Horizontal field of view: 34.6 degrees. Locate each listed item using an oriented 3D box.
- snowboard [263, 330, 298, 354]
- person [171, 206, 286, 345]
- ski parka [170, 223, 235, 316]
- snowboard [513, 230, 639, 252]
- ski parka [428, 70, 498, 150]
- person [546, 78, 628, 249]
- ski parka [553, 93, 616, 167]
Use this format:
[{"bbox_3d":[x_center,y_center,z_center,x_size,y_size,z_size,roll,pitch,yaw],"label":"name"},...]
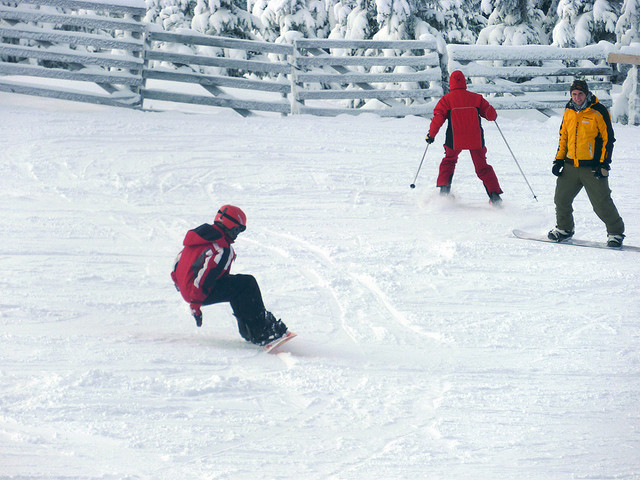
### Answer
[{"bbox_3d":[-0.439,1.086,10.950,0.479,0.139,0.073,-28,17,16],"label":"snowboard"},{"bbox_3d":[-0.957,0.371,10.864,1.155,1.466,0.273,3,11,-6],"label":"person"},{"bbox_3d":[-1.219,0.314,10.824,0.645,0.978,0.247,3,11,-6],"label":"ski parka"},{"bbox_3d":[3.313,0.013,13.378,1.628,0.062,0.166,5,48,8],"label":"snowboard"},{"bbox_3d":[1.981,-1.776,15.010,0.658,1.460,1.126,-8,-1,-6],"label":"ski parka"},{"bbox_3d":[3.454,-0.967,13.148,0.968,2.115,0.329,8,11,19],"label":"person"},{"bbox_3d":[3.380,-1.386,13.123,0.729,0.906,0.292,8,11,23],"label":"ski parka"}]
